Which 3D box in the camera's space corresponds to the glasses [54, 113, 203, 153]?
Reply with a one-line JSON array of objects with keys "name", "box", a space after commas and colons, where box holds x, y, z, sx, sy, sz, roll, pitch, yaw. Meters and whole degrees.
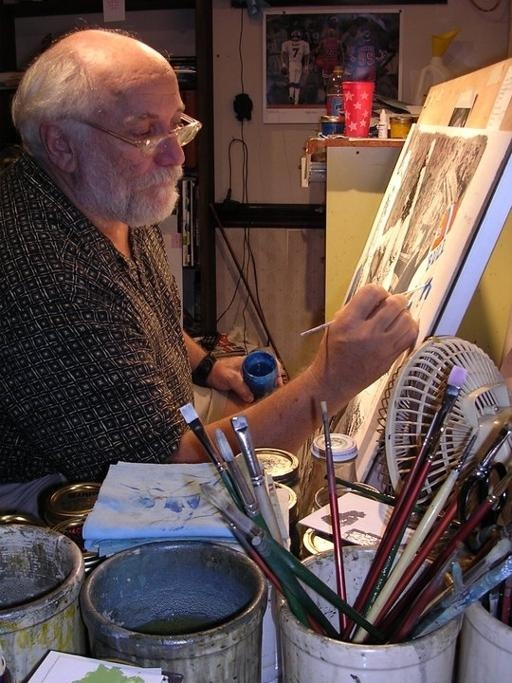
[{"name": "glasses", "box": [-0.255, -0.395, 1.158, 0.105, 0.028, 0.104, 31, 35, 9]}]

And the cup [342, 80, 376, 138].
[{"name": "cup", "box": [0.302, -0.687, 1.813, 0.108, 0.146, 0.102, -2, 21, 1]}]
